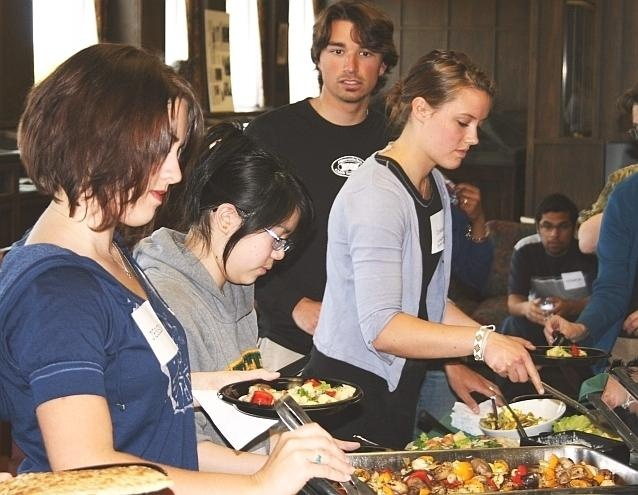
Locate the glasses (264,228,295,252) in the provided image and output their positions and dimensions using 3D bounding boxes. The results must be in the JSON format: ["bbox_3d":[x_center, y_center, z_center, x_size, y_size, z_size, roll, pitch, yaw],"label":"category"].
[{"bbox_3d":[-0.114,-0.016,1.742,0.061,0.021,0.062,37,8,25],"label":"glasses"}]

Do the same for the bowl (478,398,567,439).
[{"bbox_3d":[0.727,0.578,2.037,0.169,0.051,0.165,-16,1,0],"label":"bowl"}]

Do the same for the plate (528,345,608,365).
[{"bbox_3d":[1.115,0.484,2.662,0.332,0.038,0.326,-1,-1,-28],"label":"plate"}]

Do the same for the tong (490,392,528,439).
[{"bbox_3d":[0.585,0.514,1.803,0.041,0.116,0.095,-18,14,16],"label":"tong"}]

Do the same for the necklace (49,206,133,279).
[{"bbox_3d":[-0.410,-0.010,1.053,0.119,0.100,0.069,-10,18,9],"label":"necklace"}]

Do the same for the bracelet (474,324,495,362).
[{"bbox_3d":[0.460,0.273,1.674,0.054,0.094,0.026,-3,10,-19],"label":"bracelet"}]

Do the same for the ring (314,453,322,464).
[{"bbox_3d":[0.000,0.358,1.002,0.009,0.012,0.012,4,-2,29],"label":"ring"}]
